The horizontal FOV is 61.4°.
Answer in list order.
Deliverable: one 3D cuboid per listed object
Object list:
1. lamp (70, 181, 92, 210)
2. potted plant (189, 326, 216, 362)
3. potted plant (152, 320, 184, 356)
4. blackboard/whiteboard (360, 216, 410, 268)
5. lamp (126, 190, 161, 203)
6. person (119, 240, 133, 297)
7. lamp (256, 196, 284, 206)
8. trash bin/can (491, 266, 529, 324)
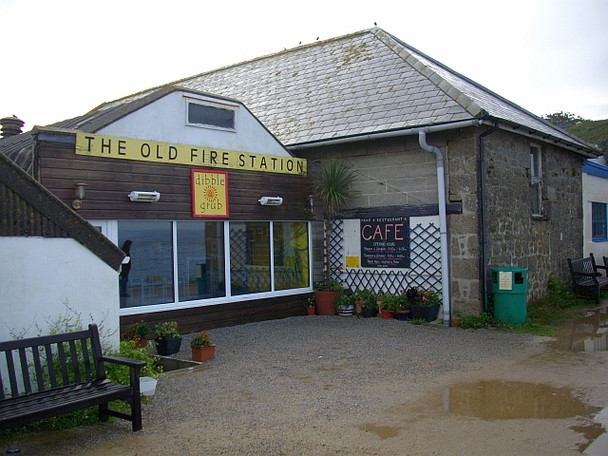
[{"bbox_3d":[-4.135,-0.574,9.474,0.312,0.524,0.215,-2,3,-36],"label":"lamp"},{"bbox_3d":[-1.687,2.021,9.017,0.485,0.737,0.536,-4,-5,45],"label":"potted plant"},{"bbox_3d":[-2.402,1.981,9.327,0.510,0.668,0.576,-3,-4,29],"label":"potted plant"},{"bbox_3d":[1.988,0.384,12.571,1.354,1.211,0.098,1,3,38],"label":"blackboard/whiteboard"},{"bbox_3d":[-3.167,-0.610,10.225,0.658,0.233,0.185,-2,2,-38],"label":"lamp"},{"bbox_3d":[-3.502,0.812,10.065,0.219,1.138,0.249,-1,2,-8],"label":"person"},{"bbox_3d":[-0.744,-0.626,12.292,0.258,0.214,0.729,1,2,39],"label":"lamp"},{"bbox_3d":[4.542,1.439,11.281,0.684,1.251,0.789,-2,-2,39],"label":"trash bin/can"}]
